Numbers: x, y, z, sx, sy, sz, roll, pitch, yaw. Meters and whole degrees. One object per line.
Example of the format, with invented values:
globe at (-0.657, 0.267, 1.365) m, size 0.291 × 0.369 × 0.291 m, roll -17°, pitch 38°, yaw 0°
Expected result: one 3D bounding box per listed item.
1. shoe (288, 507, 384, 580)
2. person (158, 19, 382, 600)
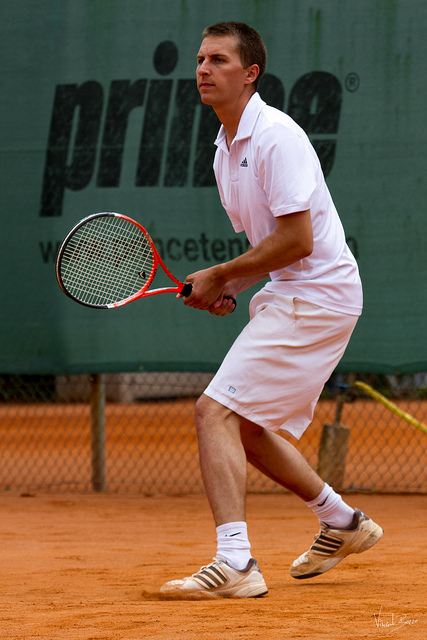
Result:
shoe at (0.396, 0.755, 2.387) m, size 0.347 × 0.168 × 0.114 m, roll -30°, pitch -24°, yaw 6°
person at (0.135, 0.028, 2.158) m, size 0.475 × 1.829 × 0.737 m, roll 12°, pitch 13°, yaw 44°
